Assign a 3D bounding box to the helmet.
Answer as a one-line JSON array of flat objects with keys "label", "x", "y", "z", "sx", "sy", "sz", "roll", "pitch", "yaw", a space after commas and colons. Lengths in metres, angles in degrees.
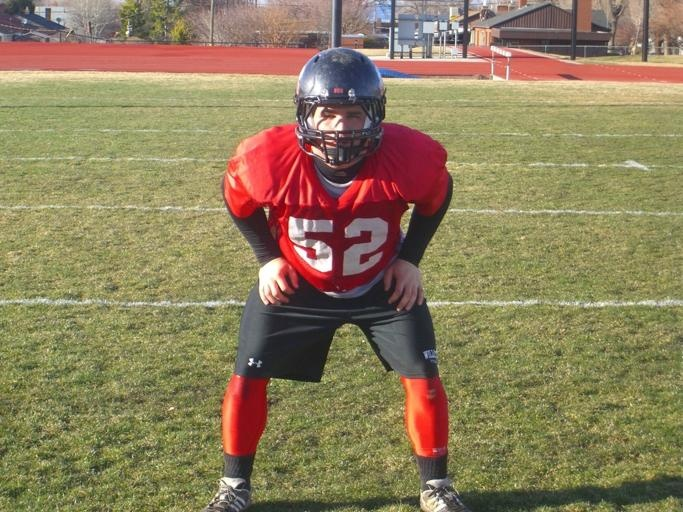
[{"label": "helmet", "x": -0.001, "y": -0.712, "z": 3.485, "sx": 0.434, "sy": 0.424, "sz": 0.522, "roll": 0, "pitch": 39, "yaw": 1}]
